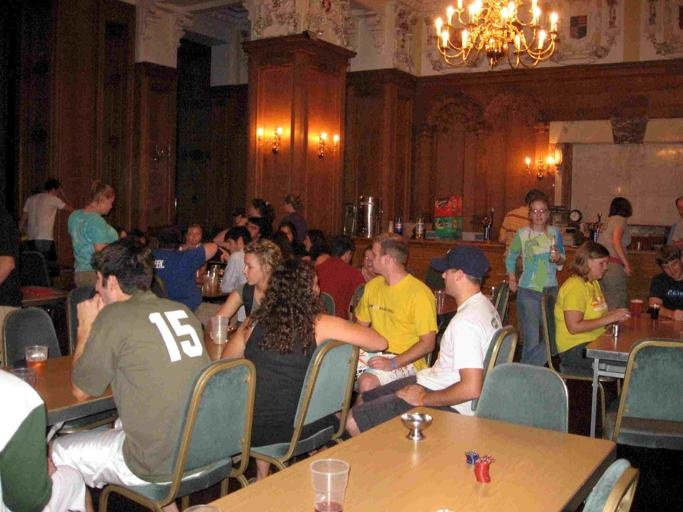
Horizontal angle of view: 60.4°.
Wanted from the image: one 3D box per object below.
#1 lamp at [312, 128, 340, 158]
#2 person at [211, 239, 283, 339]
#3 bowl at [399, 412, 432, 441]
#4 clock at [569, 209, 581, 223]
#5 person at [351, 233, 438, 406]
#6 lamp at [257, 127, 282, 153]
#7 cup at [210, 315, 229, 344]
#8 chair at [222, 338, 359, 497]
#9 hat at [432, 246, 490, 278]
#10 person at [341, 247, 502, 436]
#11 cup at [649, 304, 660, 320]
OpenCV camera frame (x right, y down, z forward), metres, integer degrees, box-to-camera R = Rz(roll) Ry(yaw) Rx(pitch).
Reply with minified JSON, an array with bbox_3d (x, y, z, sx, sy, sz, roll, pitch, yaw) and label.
[{"bbox_3d":[-0.315,-2.132,11.055,0.156,0.555,0.535,2,8,35],"label":"lamp"},{"bbox_3d":[-0.736,0.358,4.240,0.565,0.899,0.528,0,15,-13],"label":"person"},{"bbox_3d":[0.369,0.811,2.817,0.108,0.084,0.112,-1,-4,0],"label":"bowl"},{"bbox_3d":[4.769,-0.795,11.914,0.234,0.270,0.096,2,5,16],"label":"clock"},{"bbox_3d":[0.367,0.621,4.537,0.736,1.501,0.744,4,6,28],"label":"person"},{"bbox_3d":[-1.322,-2.098,10.725,0.564,0.484,0.110,4,6,33],"label":"lamp"},{"bbox_3d":[-0.852,0.523,4.199,0.171,0.240,0.160,2,-5,0],"label":"cup"},{"bbox_3d":[-0.305,0.767,3.720,0.689,1.081,0.815,8,9,38],"label":"chair"},{"bbox_3d":[0.787,0.018,3.896,0.384,0.224,0.288,8,-2,10],"label":"hat"},{"bbox_3d":[0.502,0.683,3.906,1.005,1.548,0.787,3,-2,17],"label":"person"},{"bbox_3d":[2.875,0.520,5.431,0.103,0.134,0.108,0,7,0],"label":"cup"}]
